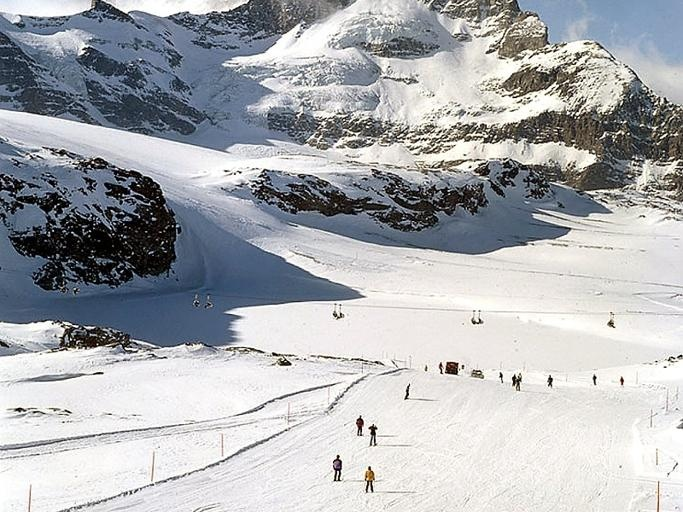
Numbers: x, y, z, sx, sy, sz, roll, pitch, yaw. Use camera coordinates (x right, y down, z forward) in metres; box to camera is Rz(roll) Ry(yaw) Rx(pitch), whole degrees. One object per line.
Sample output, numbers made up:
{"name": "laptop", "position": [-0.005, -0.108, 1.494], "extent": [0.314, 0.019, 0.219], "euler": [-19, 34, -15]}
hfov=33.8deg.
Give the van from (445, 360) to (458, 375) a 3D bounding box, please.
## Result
{"name": "van", "position": [23.818, 24.423, 246.746], "extent": [2.832, 2.454, 2.607], "euler": [1, -4, 15]}
